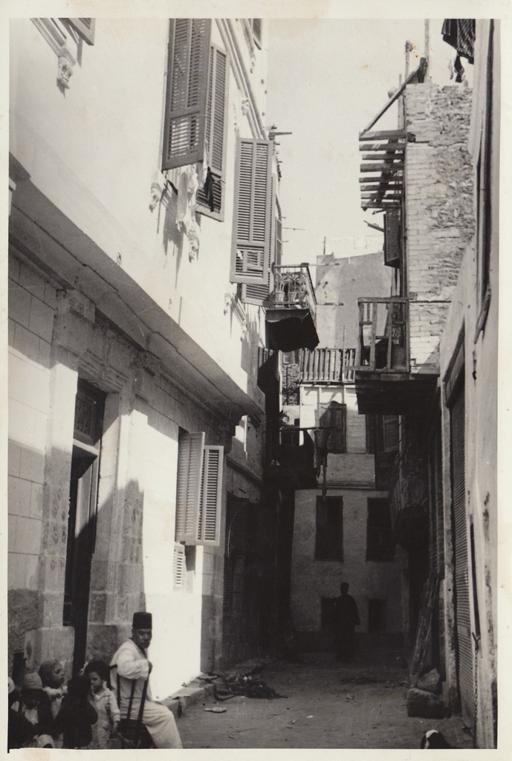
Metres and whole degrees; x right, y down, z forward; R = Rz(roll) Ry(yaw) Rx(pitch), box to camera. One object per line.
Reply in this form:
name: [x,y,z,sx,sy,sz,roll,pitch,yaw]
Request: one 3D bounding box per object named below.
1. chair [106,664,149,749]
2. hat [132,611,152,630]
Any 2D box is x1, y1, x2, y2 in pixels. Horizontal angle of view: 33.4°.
chair: [-0.838,1.906,5.530,0.179,0.576,0.150,29,-36,-33]
hat: [-0.747,1.571,5.597,0.093,0.130,0.103,-3,-11,39]
